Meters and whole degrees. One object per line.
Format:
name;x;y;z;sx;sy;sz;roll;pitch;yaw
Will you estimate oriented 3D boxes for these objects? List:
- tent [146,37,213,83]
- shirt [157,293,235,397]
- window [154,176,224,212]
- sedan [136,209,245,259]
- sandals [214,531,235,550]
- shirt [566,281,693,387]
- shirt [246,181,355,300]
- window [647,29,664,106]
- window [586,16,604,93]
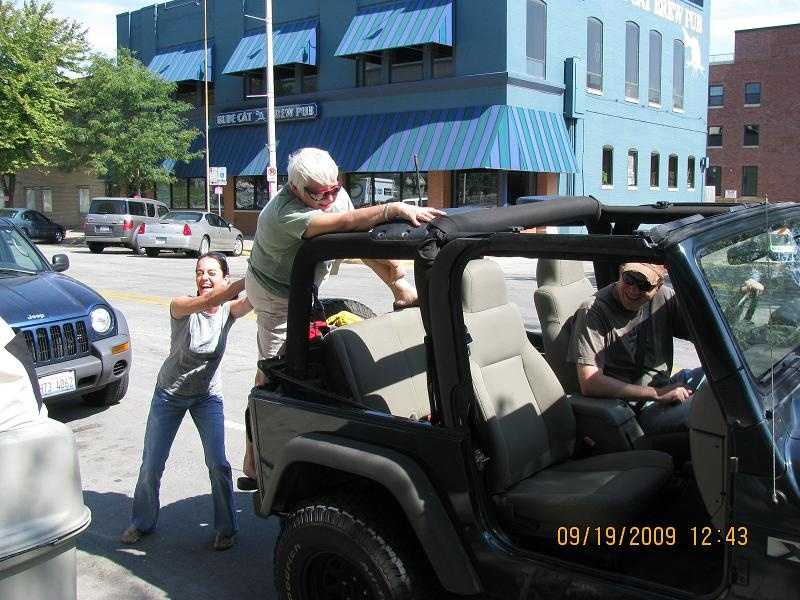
tent;-11.458;-12.552;33.575;3.468;1.943;1.409;3;12;34
shirt;-1.347;0.353;4.244;0.484;0.594;0.200;-3;9;-20
window;-10.730;-5.455;32.912;2.981;1.623;0.108;10;22;30
sedan;-7.829;-2.546;24.709;2.306;1.721;4.689;2;6;12
sandals;-1.157;1.588;4.208;0.122;0.090;0.073;-5;10;-27
shirt;1.467;0.234;4.049;0.603;0.504;0.301;-4;11;-13
shirt;-0.586;-0.302;3.780;0.347;0.577;0.573;-4;4;9
window;12.563;-11.484;31.685;0.138;3.618;0.843;-25;34;-17
window;8.498;-10.694;27.911;1.245;3.085;0.382;-8;12;-43
